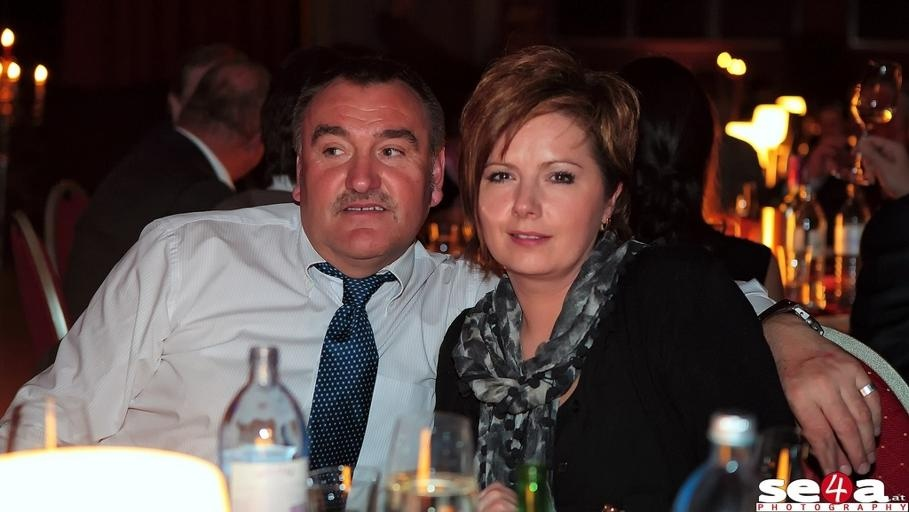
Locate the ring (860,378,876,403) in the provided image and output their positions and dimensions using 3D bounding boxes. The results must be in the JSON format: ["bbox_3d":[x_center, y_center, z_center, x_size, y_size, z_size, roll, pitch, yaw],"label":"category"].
[{"bbox_3d":[1.609,0.526,3.069,0.062,0.016,0.057,-23,-41,-22],"label":"ring"}]
